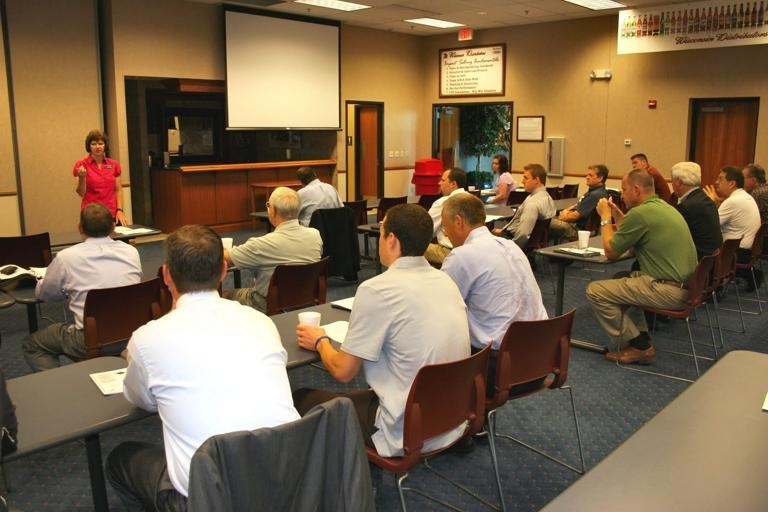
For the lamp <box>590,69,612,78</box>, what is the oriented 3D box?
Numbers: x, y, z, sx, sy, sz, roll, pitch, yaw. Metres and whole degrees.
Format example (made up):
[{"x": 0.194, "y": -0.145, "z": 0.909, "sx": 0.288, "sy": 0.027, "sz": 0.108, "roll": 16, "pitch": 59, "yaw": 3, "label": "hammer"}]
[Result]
[{"x": 3.919, "y": -3.307, "z": 11.018, "sx": 0.381, "sy": 0.184, "sz": 0.099, "roll": 14, "pitch": 20, "yaw": 40, "label": "lamp"}]

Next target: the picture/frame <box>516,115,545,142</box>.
[{"x": 2.919, "y": -2.544, "z": 12.035, "sx": 0.488, "sy": 0.465, "sz": 0.035, "roll": 10, "pitch": 14, "yaw": 44, "label": "picture/frame"}]

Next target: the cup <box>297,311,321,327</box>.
[{"x": -0.437, "y": 0.355, "z": 3.562, "sx": 0.099, "sy": 0.085, "sz": 0.096, "roll": 0, "pitch": 2, "yaw": 0, "label": "cup"}]

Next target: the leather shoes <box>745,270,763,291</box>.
[{"x": 4.280, "y": 0.276, "z": 7.042, "sx": 0.179, "sy": 0.275, "sz": 0.087, "roll": 3, "pitch": -2, "yaw": -4, "label": "leather shoes"}]

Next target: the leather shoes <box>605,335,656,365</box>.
[{"x": 2.085, "y": 0.818, "z": 5.360, "sx": 0.523, "sy": 0.265, "sz": 0.190, "roll": -2, "pitch": 8, "yaw": 12, "label": "leather shoes"}]
